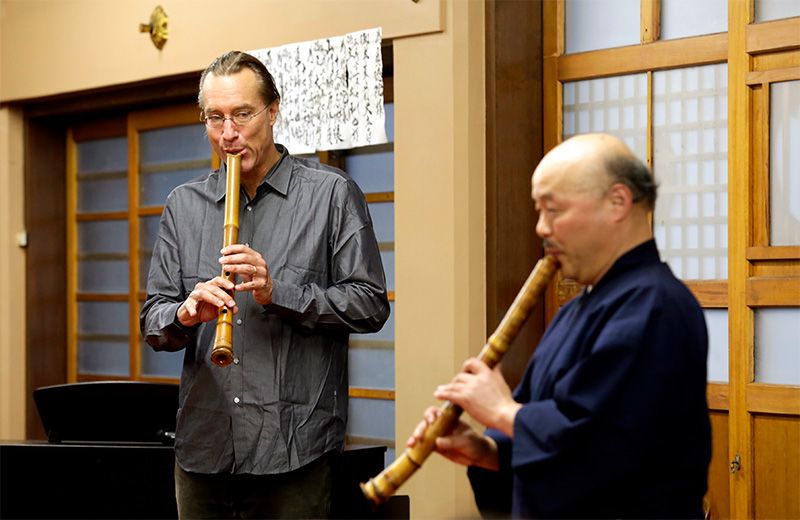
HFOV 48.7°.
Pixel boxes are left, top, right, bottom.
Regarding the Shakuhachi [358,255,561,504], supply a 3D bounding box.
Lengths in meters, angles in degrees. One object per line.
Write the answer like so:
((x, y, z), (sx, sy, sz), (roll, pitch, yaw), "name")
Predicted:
((0.277, 0.490, 3.784), (0.217, 1.464, 0.163), (42, 2, -36), "Shakuhachi")

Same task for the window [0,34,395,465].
((-1.098, 0.331, 5.530), (3.255, 2.827, 0.369), (2, 6, 28), "window")

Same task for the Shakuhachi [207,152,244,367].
((-0.676, -0.011, 3.458), (0.112, 0.834, 0.239), (0, -3, -10), "Shakuhachi")

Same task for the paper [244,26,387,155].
((-0.424, -0.880, 4.769), (0.884, 0.623, 0.045), (0, 9, 36), "paper")
